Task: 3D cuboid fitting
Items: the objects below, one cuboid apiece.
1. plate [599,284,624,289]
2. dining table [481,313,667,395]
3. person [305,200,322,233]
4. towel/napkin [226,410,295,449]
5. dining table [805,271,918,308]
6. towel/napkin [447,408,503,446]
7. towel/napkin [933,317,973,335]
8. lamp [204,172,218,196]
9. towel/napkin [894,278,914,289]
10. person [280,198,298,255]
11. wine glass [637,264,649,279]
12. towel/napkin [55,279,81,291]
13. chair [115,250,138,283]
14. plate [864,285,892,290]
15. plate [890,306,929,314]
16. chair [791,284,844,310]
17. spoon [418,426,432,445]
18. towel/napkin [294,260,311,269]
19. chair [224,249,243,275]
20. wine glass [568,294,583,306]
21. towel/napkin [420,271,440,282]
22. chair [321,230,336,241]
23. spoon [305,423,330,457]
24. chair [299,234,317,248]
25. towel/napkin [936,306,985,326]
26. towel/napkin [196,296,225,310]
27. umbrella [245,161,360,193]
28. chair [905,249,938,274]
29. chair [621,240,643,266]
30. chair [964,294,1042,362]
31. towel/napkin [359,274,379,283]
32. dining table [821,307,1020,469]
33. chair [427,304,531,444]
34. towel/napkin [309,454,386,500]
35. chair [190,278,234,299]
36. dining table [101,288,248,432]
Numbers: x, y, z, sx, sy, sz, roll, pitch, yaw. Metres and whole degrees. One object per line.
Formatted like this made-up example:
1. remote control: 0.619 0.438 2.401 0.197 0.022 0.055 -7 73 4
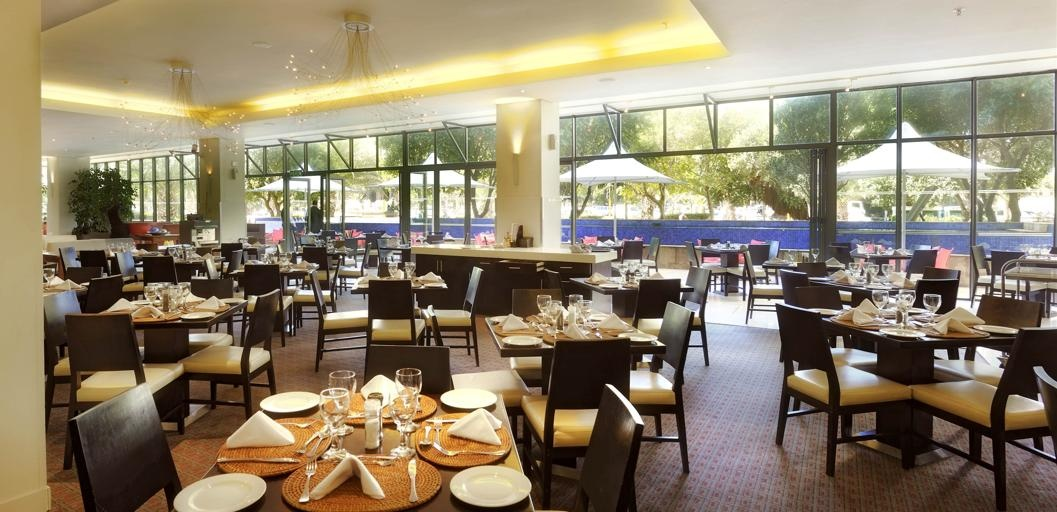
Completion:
1. plate: 1.480 0.518 11.612 0.339 0.042 0.349 -6 5 -42
2. dining table: 0.197 1.254 9.445 1.507 0.758 1.378 0 2 -15
3. person: -6.512 -1.210 20.485 0.467 0.989 0.957 -5 5 -17
4. towel/napkin: -3.162 2.055 7.977 0.592 0.224 0.544 -1 -3 12
5. dining table: 5.983 0.517 11.658 0.951 0.280 1.333 -3 6 -13
6. towel/napkin: -0.600 2.083 7.989 0.517 0.163 0.482 -8 22 -31
7. towel/napkin: 6.003 1.001 9.437 0.337 0.102 0.314 1 2 -4
8. lamp: -9.181 -2.170 19.611 0.493 0.616 0.133 0 7 30
9. towel/napkin: 6.546 0.479 11.619 0.265 0.077 0.249 -2 4 -7
10. person: -7.749 -1.016 21.738 0.452 1.638 0.927 -5 6 -19
11. wine glass: 2.096 0.270 12.070 0.162 0.216 0.261 -2 5 10
12. towel/napkin: -7.793 0.485 11.368 0.579 0.132 0.297 1 5 32
13. chair: -8.146 0.221 13.596 0.321 0.621 0.545 -6 6 -30
14. plate: 6.005 0.533 11.446 0.334 0.064 0.301 -6 6 -44
15. plate: 5.947 0.836 10.310 0.378 0.041 0.348 -1 0 -21
16. chair: 4.625 0.658 10.694 0.570 0.608 0.518 -1 -2 37
17. spoon: -1.209 2.146 7.989 0.109 0.037 0.202 0 40 6
18. towel/napkin: -4.590 0.179 13.795 0.382 0.146 0.448 1 1 -3
19. chair: -5.996 0.120 13.724 0.333 0.469 0.940 -5 5 -24
20. wine glass: 0.710 0.641 9.793 0.167 0.151 0.153 -2 8 -20
21. towel/napkin: -1.727 0.373 12.072 0.246 0.110 0.329 1 2 -4
22. chair: -5.394 -0.571 18.118 0.357 0.397 0.440 -2 5 5
23. spoon: -2.499 2.191 7.951 0.154 0.071 0.462 5 25 0
24. chair: -5.921 -0.423 18.050 0.594 0.323 0.286 3 20 6
25. towel/napkin: 6.259 0.871 9.645 0.435 0.143 0.336 -2 2 1
26. towel/napkin: -4.859 0.708 10.239 0.309 0.087 0.227 2 5 26
27. umbrella: -7.346 -2.312 21.320 4.201 0.601 0.340 0 6 30
28. chair: 8.094 0.100 13.723 0.534 0.543 0.411 5 7 -15
29. chair: 2.491 -0.133 16.233 0.561 0.635 0.527 2 9 4
30. chair: 7.251 0.913 10.141 0.707 0.784 0.631 4 -4 -23
31. towel/napkin: -2.881 0.412 12.000 0.419 0.142 0.517 1 3 -5
32. dining table: 5.535 2.063 10.212 2.539 1.814 2.339 -1 3 -21
33. chair: -0.691 1.994 9.521 1.131 0.944 0.987 -2 6 -18
34. towel/napkin: -2.012 2.548 7.603 0.641 0.202 0.587 10 2 15
35. chair: -5.156 0.531 10.955 0.448 0.238 0.427 1 1 18
36. dining table: -5.265 1.580 10.629 2.244 1.620 2.095 5 9 19
